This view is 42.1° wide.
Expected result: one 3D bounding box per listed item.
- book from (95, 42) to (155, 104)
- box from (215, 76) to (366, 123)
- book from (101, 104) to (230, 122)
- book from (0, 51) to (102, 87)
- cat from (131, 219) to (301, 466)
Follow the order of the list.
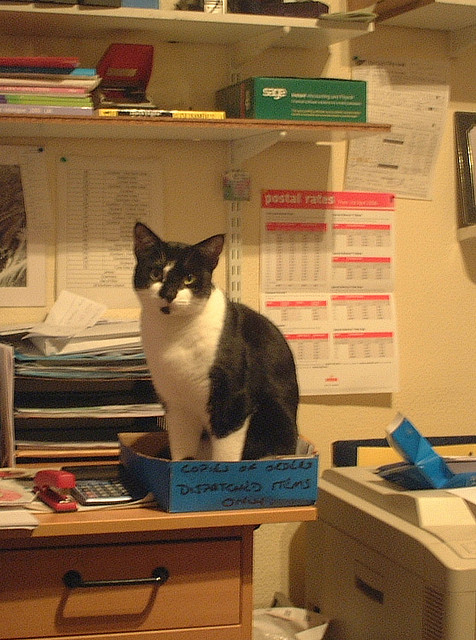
[{"bbox_3d":[-0.211,-0.482,1.226,0.118,0.100,0.095,13,15,26],"label":"book"},{"bbox_3d":[0.102,-0.443,1.245,0.250,0.111,0.244,-3,11,-17],"label":"box"},{"bbox_3d":[-0.137,-0.378,1.139,0.224,0.033,0.126,-2,11,-12],"label":"book"},{"bbox_3d":[-0.338,-0.442,1.093,0.139,0.029,0.121,0,13,-5],"label":"book"},{"bbox_3d":[-0.030,0.046,0.829,0.186,0.307,0.262,3,5,36],"label":"cat"}]
